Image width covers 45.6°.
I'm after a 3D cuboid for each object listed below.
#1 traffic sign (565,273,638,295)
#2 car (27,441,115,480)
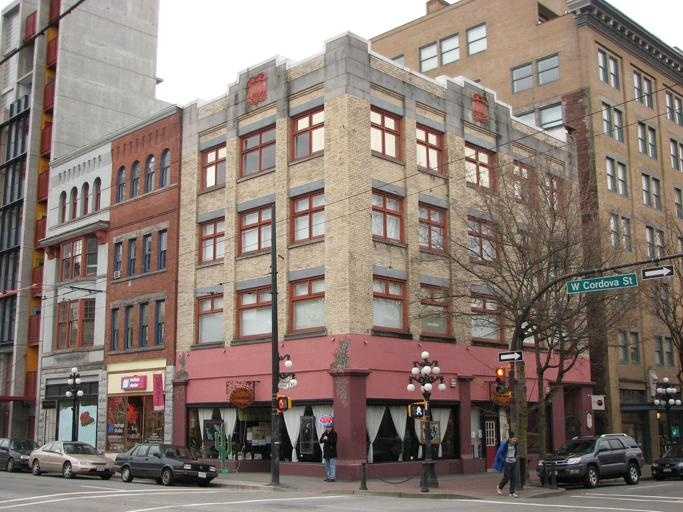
[{"bbox_3d":[10.204,1.003,31.956,2.574,0.725,0.851,-11,-22,23],"label":"traffic sign"},{"bbox_3d":[-13.565,10.084,40.223,5.159,1.724,2.173,-7,-12,34],"label":"car"}]
